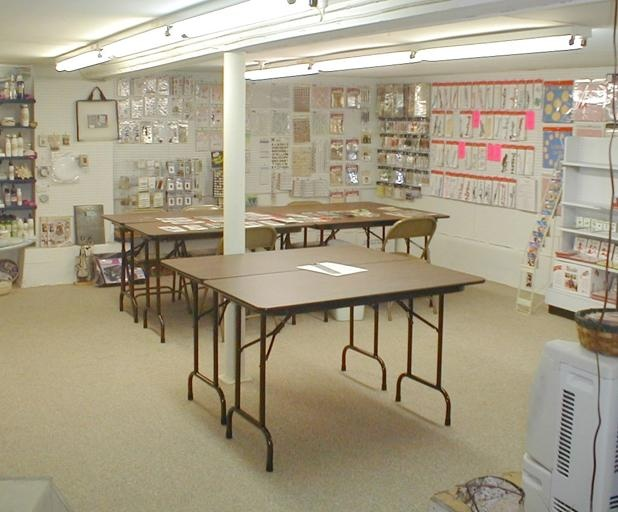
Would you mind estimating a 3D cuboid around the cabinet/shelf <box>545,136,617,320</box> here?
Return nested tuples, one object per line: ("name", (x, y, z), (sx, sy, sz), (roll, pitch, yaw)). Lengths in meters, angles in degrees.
("cabinet/shelf", (3.503, -0.331, 6.107), (0.608, 2.296, 0.738), (-4, 14, -21))

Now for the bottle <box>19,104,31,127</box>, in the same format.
("bottle", (-4.270, -2.109, 7.258), (0.165, 0.335, 0.232), (-7, 15, -30))

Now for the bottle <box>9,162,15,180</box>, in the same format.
("bottle", (-4.439, -1.264, 7.205), (0.094, 0.237, 0.312), (-7, 15, -31))

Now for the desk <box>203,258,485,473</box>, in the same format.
("desk", (0.208, 0.782, 4.156), (2.140, 1.233, 1.611), (-6, 10, -39))

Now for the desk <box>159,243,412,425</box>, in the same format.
("desk", (0.070, 0.971, 5.061), (1.194, 1.458, 2.322), (6, 9, 35))

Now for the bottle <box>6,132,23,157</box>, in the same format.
("bottle", (-4.359, -1.627, 7.144), (0.239, 0.313, 0.243), (1, 13, 0))

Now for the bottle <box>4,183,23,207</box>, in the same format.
("bottle", (-4.456, -0.924, 7.265), (0.253, 0.302, 0.429), (-7, 15, -30))
